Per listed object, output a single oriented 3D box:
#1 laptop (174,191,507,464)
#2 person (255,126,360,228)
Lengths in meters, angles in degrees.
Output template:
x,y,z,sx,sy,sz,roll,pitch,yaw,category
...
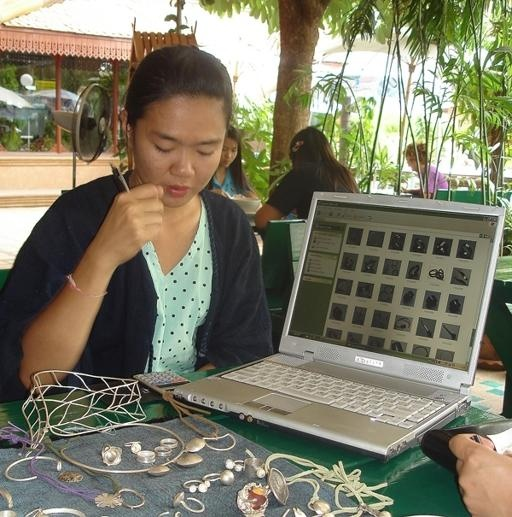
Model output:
x,y,z,sx,sy,sz,roll,pitch,yaw,category
0.171,0.069,0.882,0.406,0.420,0.488,2,4,43,laptop
0.453,-0.473,3.844,0.859,1.151,0.662,-15,25,-40,person
